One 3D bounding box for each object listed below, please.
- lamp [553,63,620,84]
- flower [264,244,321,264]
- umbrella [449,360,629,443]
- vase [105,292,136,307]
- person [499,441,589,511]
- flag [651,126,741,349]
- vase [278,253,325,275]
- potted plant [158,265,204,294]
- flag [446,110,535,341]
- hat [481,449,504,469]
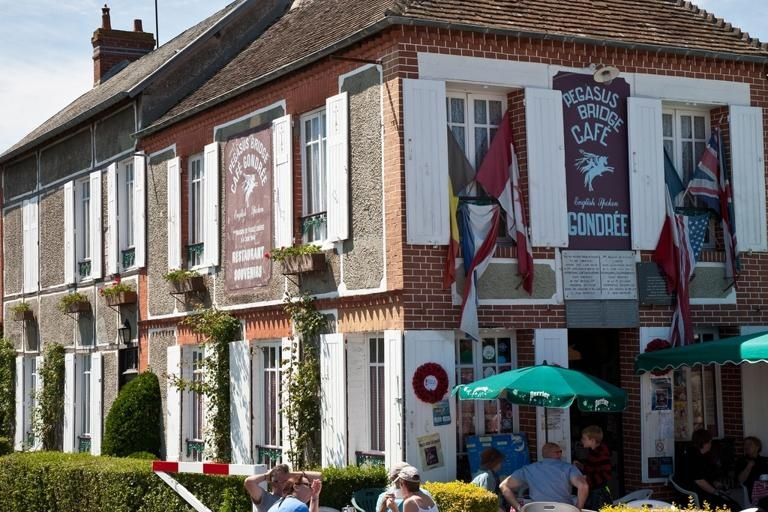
[{"bbox_3d":[3.965,-3.528,32.076,1.190,0.497,0.602,1,17,9],"label":"lamp"},{"bbox_3d":[-1.754,-0.108,32.724,0.485,0.228,0.661,-22,7,-40],"label":"flower"},{"bbox_3d":[2.936,2.377,29.810,2.858,0.779,0.761,0,7,8],"label":"umbrella"},{"bbox_3d":[-5.897,0.942,37.474,0.272,0.429,0.865,-7,10,-42],"label":"vase"},{"bbox_3d":[2.882,3.982,29.926,1.103,2.079,0.702,-1,-9,21],"label":"person"},{"bbox_3d":[6.098,-0.416,32.549,1.779,4.037,1.007,-5,8,-31],"label":"flag"},{"bbox_3d":[-1.555,0.124,32.523,1.006,0.457,0.275,6,10,41],"label":"vase"},{"bbox_3d":[-4.239,0.550,35.411,0.356,0.561,1.137,-7,10,-40],"label":"potted plant"},{"bbox_3d":[1.911,-0.643,31.363,1.677,4.112,1.111,-5,8,-29],"label":"flag"},{"bbox_3d":[2.012,3.656,30.277,0.385,0.409,0.319,-3,1,9],"label":"hat"}]
